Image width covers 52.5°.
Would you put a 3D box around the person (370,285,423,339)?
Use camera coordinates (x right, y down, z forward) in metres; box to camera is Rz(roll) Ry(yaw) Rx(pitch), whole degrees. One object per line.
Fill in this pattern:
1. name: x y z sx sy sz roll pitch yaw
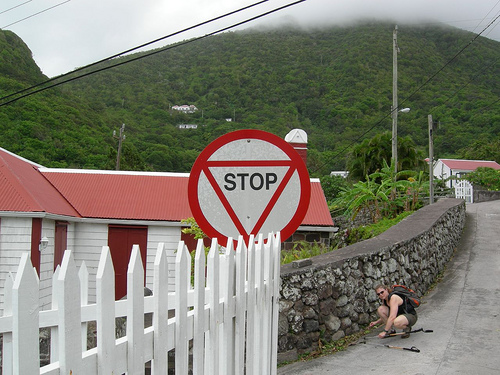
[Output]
1. person: 2.296 1.946 8.076 0.760 0.868 0.567 -3 2 21

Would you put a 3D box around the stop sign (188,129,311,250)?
1. stop sign: -0.015 0.037 4.549 1.077 1.104 0.277 1 8 -9

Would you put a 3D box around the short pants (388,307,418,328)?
1. short pants: 2.384 2.055 7.969 0.420 0.201 0.275 5 8 15

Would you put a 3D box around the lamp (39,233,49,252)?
1. lamp: -5.727 1.580 14.011 0.216 0.500 0.605 -1 8 -23

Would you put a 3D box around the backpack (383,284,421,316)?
1. backpack: 2.434 1.762 8.220 0.439 0.323 0.437 24 -46 -4
